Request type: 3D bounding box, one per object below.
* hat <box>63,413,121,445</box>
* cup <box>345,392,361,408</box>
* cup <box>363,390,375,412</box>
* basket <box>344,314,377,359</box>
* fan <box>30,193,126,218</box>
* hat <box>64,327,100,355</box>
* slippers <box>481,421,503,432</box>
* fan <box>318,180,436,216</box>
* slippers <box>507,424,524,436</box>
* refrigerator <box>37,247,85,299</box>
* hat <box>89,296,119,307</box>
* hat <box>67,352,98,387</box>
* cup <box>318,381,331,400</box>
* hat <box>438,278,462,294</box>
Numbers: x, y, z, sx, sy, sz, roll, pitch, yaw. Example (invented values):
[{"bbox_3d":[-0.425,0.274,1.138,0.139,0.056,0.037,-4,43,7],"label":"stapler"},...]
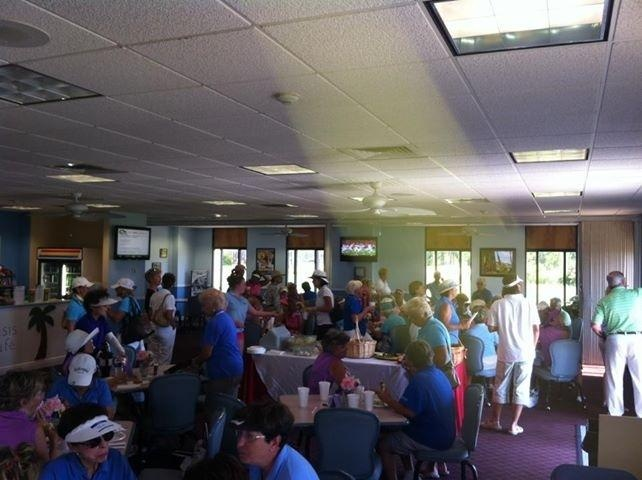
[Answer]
[{"bbox_3d":[-1.345,1.119,2.712,0.274,0.079,0.179,-18,-8,19],"label":"hat"},{"bbox_3d":[0.285,1.505,4.357,0.143,0.138,0.137,0,-2,0],"label":"cup"},{"bbox_3d":[0.463,1.542,4.419,0.140,0.162,0.145,11,5,-1],"label":"cup"},{"bbox_3d":[0.538,1.395,6.170,0.450,0.425,0.329,0,-7,18],"label":"basket"},{"bbox_3d":[-5.181,-0.769,9.909,1.511,0.469,1.469,3,-11,-34],"label":"fan"},{"bbox_3d":[-2.448,0.990,4.658,0.150,0.305,0.231,48,2,-31],"label":"hat"},{"bbox_3d":[2.406,2.615,6.500,0.285,0.108,0.122,-2,-5,36],"label":"slippers"},{"bbox_3d":[1.208,-0.739,9.134,1.208,0.298,1.218,4,-4,-15],"label":"fan"},{"bbox_3d":[2.692,2.607,6.379,0.109,0.118,0.289,-4,-3,42],"label":"slippers"},{"bbox_3d":[-7.175,0.927,12.709,1.471,1.831,0.663,-1,-5,13],"label":"refrigerator"},{"bbox_3d":[-2.587,0.742,5.444,0.258,0.074,0.153,-6,-3,3],"label":"hat"},{"bbox_3d":[-1.983,1.074,3.810,0.206,0.275,0.110,7,-22,-13],"label":"hat"},{"bbox_3d":[0.040,1.532,4.710,0.168,0.163,0.163,0,-4,0],"label":"cup"},{"bbox_3d":[1.902,0.672,6.783,0.249,0.091,0.214,-24,-5,5],"label":"hat"}]
